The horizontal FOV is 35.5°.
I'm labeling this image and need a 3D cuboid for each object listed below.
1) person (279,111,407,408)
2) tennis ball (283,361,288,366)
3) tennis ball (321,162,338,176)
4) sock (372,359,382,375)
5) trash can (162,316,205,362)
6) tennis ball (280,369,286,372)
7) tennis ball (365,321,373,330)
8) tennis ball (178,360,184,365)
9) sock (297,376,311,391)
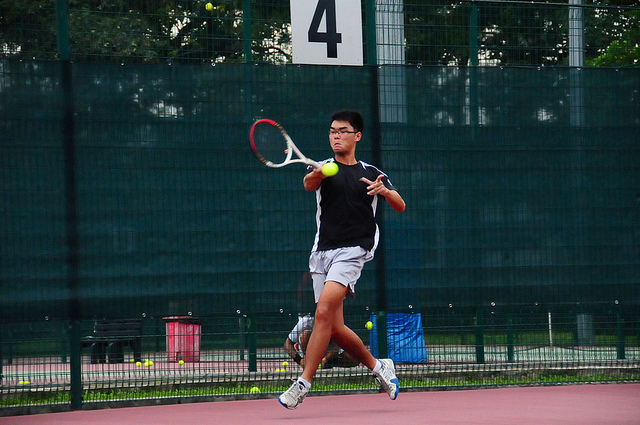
[{"bbox_3d":[0.285,0.446,10.104,1.020,2.932,1.151,-7,-6,28],"label":"person"},{"bbox_3d":[-0.384,1.655,11.001,0.053,0.048,0.032,0,-7,-38],"label":"tennis ball"},{"bbox_3d":[0.098,-0.433,9.815,0.118,0.068,0.120,-5,11,1],"label":"tennis ball"},{"bbox_3d":[0.592,1.576,10.285,0.057,0.177,0.106,-2,7,-2],"label":"sock"},{"bbox_3d":[-1.534,1.469,11.386,0.475,0.528,0.504,-7,-12,29],"label":"trash can"},{"bbox_3d":[-0.412,1.726,10.960,0.051,0.028,0.048,-5,-6,0],"label":"tennis ball"},{"bbox_3d":[0.560,1.272,11.349,0.063,0.071,0.084,-3,1,-15],"label":"tennis ball"},{"bbox_3d":[-1.529,1.640,11.008,0.052,0.048,0.051,-4,-6,0],"label":"tennis ball"},{"bbox_3d":[-0.162,1.670,9.783,0.121,0.060,0.091,40,-11,-4],"label":"sock"}]
